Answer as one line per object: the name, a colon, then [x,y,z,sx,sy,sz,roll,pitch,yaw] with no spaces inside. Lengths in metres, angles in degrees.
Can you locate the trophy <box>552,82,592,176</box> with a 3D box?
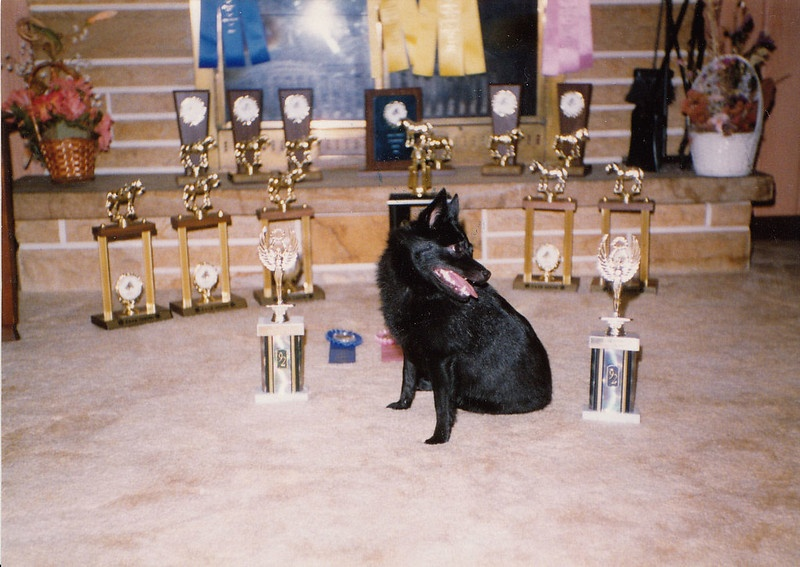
trophy: [1.496,-1.297,7.862,0.337,0.846,0.278,3,13,23]

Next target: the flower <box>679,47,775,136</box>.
flower: [2.654,-1.573,7.586,0.632,0.637,0.560,-1,14,2]

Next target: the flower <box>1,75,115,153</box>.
flower: [-2.793,-1.282,7.574,0.631,0.486,0.657,-6,-23,-5]

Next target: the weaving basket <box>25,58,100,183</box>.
weaving basket: [-2.847,-1.363,7.626,0.531,1.017,0.523,-12,9,-34]

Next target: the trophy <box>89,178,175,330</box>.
trophy: [-2.071,-0.264,6.816,0.569,1.011,0.769,-7,15,-20]

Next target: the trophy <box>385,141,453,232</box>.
trophy: [0.134,-0.704,6.596,0.466,0.892,0.481,3,38,-6]

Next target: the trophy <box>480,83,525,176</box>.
trophy: [0.871,-1.324,7.831,0.338,0.746,0.509,0,14,7]

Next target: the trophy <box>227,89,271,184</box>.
trophy: [-1.289,-1.270,7.695,0.333,0.808,0.257,-5,33,-11]

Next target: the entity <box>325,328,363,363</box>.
entity: [-0.384,0.421,6.203,0.242,0.136,0.370,-2,14,-2]

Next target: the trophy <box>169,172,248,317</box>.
trophy: [-1.511,-0.334,6.986,0.569,1.001,0.671,-5,14,-13]
